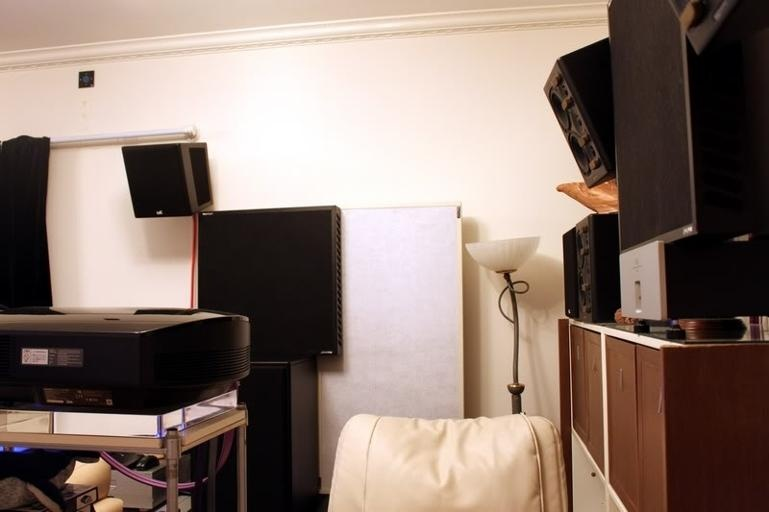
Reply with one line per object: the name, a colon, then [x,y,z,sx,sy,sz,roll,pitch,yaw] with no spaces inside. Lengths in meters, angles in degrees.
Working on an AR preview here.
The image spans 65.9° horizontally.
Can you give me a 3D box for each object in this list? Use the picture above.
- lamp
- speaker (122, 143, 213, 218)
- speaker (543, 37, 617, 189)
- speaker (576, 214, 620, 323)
lamp: [0.679,0.378,3.251,0.389,0.682,0.436,-4,-3,8]
speaker: [-1.332,-0.472,3.674,0.408,0.422,0.313,-2,13,13]
speaker: [0.796,-0.560,2.396,0.203,0.472,0.409,-3,-3,-13]
speaker: [1.013,0.072,2.659,0.228,0.464,0.321,-1,-4,5]
